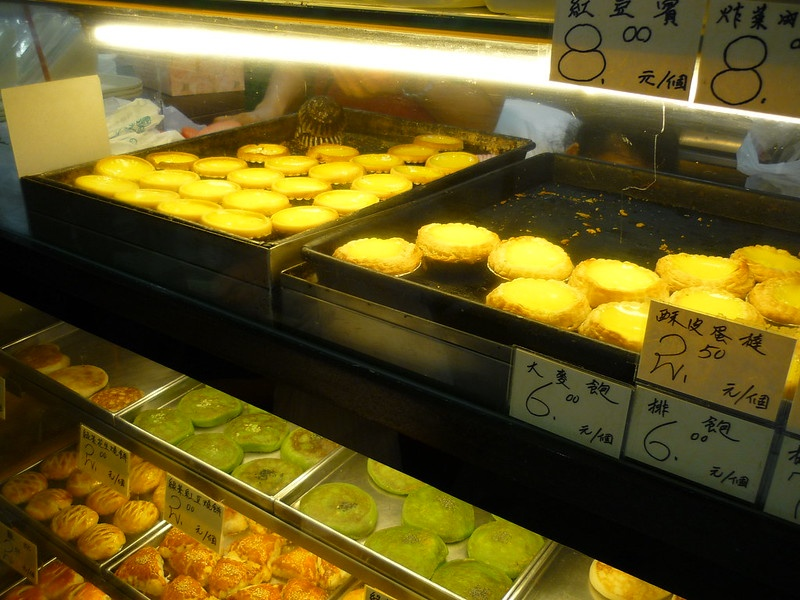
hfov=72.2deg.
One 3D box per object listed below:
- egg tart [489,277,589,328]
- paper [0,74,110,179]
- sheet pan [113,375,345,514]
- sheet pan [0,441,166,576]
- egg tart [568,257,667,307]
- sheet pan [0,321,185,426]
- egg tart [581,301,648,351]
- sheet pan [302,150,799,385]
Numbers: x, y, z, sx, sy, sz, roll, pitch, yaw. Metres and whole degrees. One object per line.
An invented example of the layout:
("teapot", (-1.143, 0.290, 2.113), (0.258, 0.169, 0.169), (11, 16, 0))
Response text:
("egg tart", (0.241, -0.008, 0.951), (0.025, 0.097, 0.085), (46, 58, 0))
("paper", (-0.941, -0.481, 1.501), (0.025, 0.240, 0.351), (21, 37, 33))
("sheet pan", (-0.474, 0.378, 1.491), (0.427, 0.036, 0.411), (18, 21, 24))
("sheet pan", (-0.928, 0.623, 1.690), (0.462, 0.059, 0.365), (18, 30, 33))
("egg tart", (0.376, -0.031, 0.948), (0.121, 0.028, 0.097), (0, 21, -1))
("sheet pan", (-1.025, 0.253, 1.749), (0.507, 0.040, 0.308), (14, 25, 26))
("egg tart", (0.324, 0.033, 0.825), (0.093, 0.019, 0.083), (-16, 30, -23))
("sheet pan", (0.383, -0.062, 1.175), (0.646, 0.059, 0.664), (16, 29, 40))
